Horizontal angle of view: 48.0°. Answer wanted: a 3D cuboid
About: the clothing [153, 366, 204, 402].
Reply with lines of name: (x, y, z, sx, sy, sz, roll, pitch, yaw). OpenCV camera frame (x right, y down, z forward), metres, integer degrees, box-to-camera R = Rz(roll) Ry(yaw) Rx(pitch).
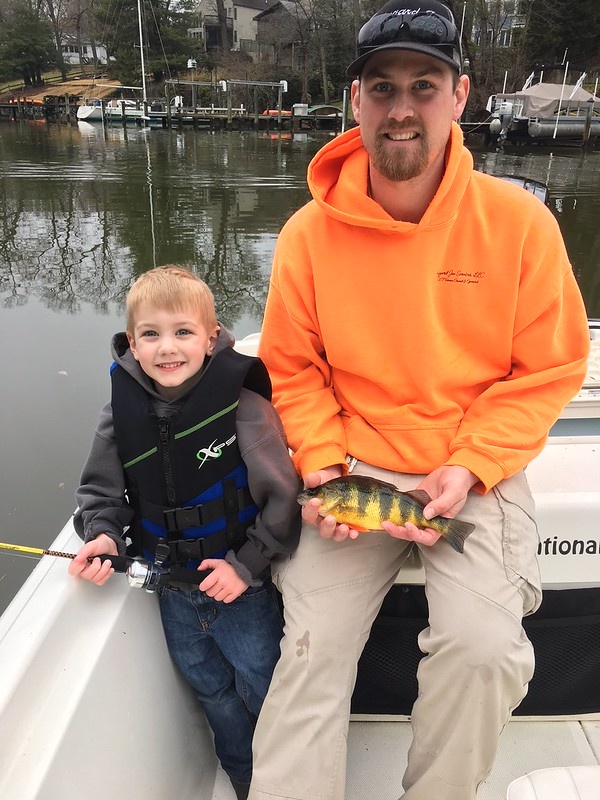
clothing: (-0.322, -0.029, 1.771, 0.099, 0.064, 0.110, 0, 79, 0)

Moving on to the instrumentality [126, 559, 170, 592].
instrumentality: (-0.365, 0.403, 1.582, 0.097, 0.041, 0.061, 7, 55, -25)

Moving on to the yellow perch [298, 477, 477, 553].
yellow perch: (0.214, 0.283, 1.650, 0.400, 0.087, 0.132, 12, 62, 4)
